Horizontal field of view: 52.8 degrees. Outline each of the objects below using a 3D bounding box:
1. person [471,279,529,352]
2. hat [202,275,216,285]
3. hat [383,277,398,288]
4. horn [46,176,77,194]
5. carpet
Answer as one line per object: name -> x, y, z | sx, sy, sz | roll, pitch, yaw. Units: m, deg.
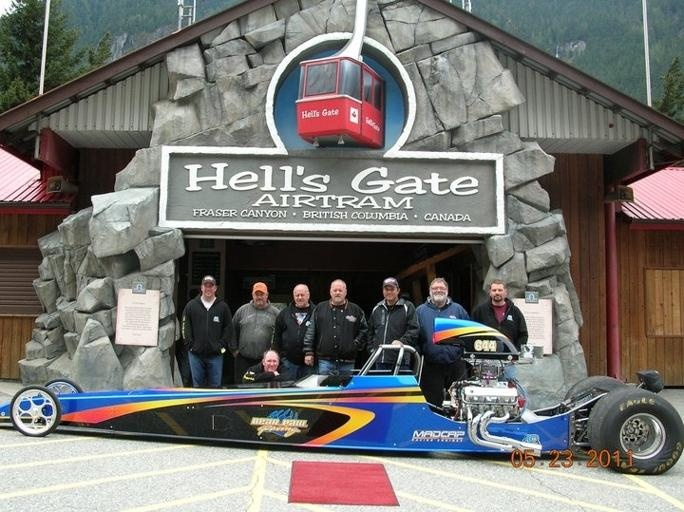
person -> 2.313, 0.861, 10.295 | 1.076, 1.523, 0.872 | -1, -8, 15
hat -> -2.076, 0.399, 10.884 | 0.153, 0.131, 0.220 | 3, 12, 6
hat -> 0.715, 0.386, 9.963 | 0.164, 0.135, 0.240 | -3, -8, 14
horn -> -5.562, -1.383, 13.653 | 0.384, 0.242, 0.387 | 5, -11, -24
carpet -> -0.020, 2.448, 7.412 | 1.097, 0.233, 1.235 | 1, 12, -5
